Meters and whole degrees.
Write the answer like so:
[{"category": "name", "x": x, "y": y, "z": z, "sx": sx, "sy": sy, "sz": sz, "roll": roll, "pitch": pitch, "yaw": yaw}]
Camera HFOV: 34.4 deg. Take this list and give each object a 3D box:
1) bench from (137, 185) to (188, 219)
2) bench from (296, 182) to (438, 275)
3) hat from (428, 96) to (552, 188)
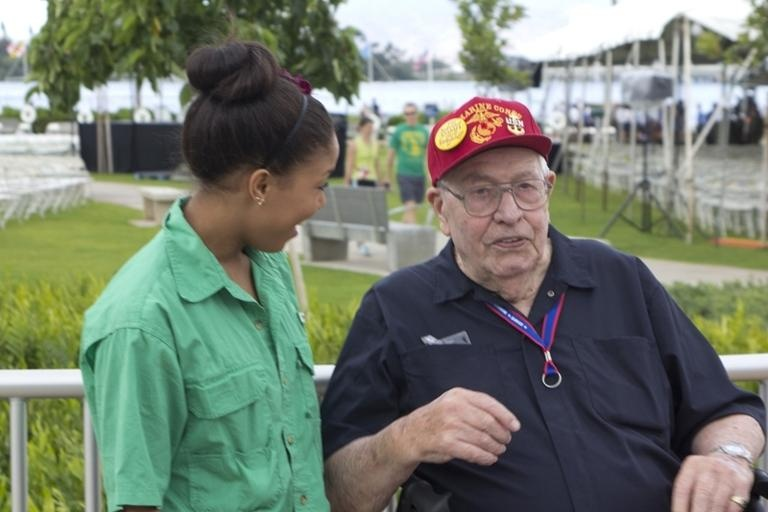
[{"category": "bench", "x": -1.236, "y": -0.293, "z": 6.862, "sx": 0.114, "sy": 0.145, "sz": 0.206, "roll": -7, "pitch": 17, "yaw": -34}, {"category": "bench", "x": -0.203, "y": -0.276, "z": 12.155, "sx": 0.578, "sy": 0.821, "sz": 1.525, "roll": -8, "pitch": 9, "yaw": -37}, {"category": "hat", "x": 0.500, "y": -0.613, "z": 6.142, "sx": 0.443, "sy": 0.266, "sz": 0.464, "roll": -18, "pitch": 2, "yaw": -13}]
